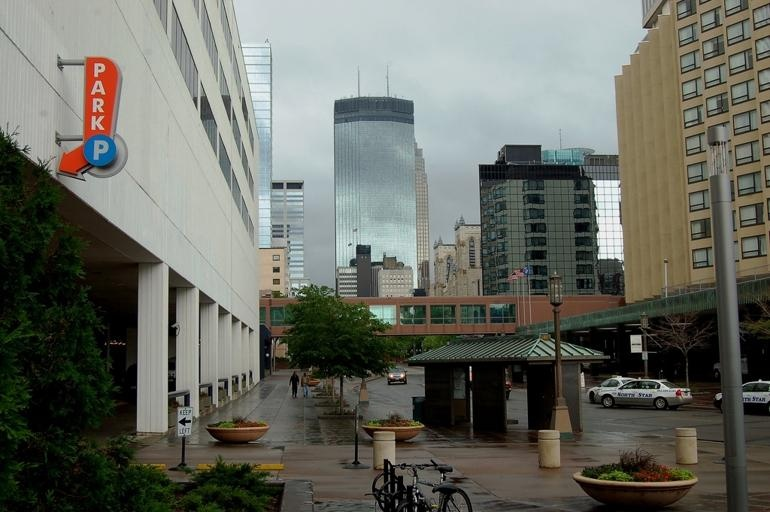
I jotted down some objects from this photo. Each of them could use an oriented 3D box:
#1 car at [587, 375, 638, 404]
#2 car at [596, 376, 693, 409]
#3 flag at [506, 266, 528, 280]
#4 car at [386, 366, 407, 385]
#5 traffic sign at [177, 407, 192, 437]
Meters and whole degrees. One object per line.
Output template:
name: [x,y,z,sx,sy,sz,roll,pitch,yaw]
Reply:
car: [12.929,8.033,51.257,1.439,1.316,3.023,1,-3,-29]
car: [14.689,7.783,48.304,4.735,1.763,0.940,-11,-14,39]
flag: [18.986,2.253,123.888,2.941,1.108,3.059,-5,3,-31]
car: [1.100,11.326,80.955,1.509,1.733,3.200,-3,-11,7]
traffic sign: [-5.903,4.851,25.135,0.388,0.852,0.516,1,-11,-14]
